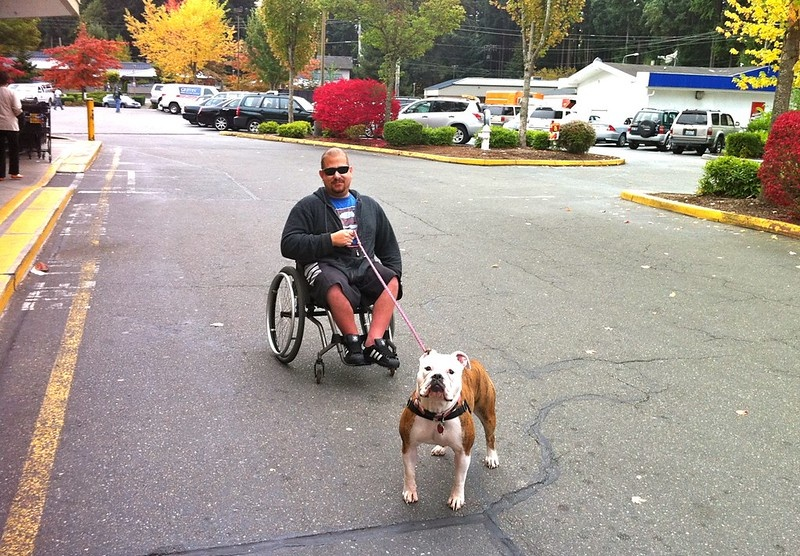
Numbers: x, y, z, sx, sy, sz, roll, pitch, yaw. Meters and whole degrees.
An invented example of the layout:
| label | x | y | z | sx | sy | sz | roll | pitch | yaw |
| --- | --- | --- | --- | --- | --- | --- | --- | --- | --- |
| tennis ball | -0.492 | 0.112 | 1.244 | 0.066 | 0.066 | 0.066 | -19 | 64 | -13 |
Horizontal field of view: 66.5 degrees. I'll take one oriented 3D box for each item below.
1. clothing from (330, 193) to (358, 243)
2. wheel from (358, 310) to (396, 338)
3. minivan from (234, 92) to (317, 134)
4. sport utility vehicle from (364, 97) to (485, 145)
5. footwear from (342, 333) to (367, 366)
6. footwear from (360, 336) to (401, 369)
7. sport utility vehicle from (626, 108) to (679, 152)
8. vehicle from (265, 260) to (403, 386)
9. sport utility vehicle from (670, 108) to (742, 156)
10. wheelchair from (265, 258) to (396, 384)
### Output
| label | x | y | z | sx | sy | sz | roll | pitch | yaw |
| --- | --- | --- | --- | --- | --- | --- | --- | --- | --- |
| clothing | -0.481 | -0.547 | 5.613 | 0.290 | 0.403 | 0.161 | -11 | -8 | -24 |
| wheel | -0.207 | 0.433 | 5.682 | 0.230 | 0.361 | 0.321 | 2 | -11 | 1 |
| minivan | -6.506 | -8.756 | 32.251 | 4.196 | 1.742 | 2.044 | -2 | 13 | -3 |
| sport utility vehicle | 1.613 | -7.328 | 27.760 | 4.391 | 1.890 | 2.131 | 6 | 12 | 13 |
| footwear | -0.395 | 0.612 | 5.194 | 0.129 | 0.128 | 0.300 | 0 | 22 | -8 |
| footwear | -0.142 | 0.682 | 5.268 | 0.254 | 0.353 | 0.311 | 18 | 23 | 40 |
| sport utility vehicle | 13.743 | -8.170 | 32.814 | 1.688 | 1.516 | 2.908 | 7 | 17 | 37 |
| vehicle | -0.852 | 0.391 | 5.799 | 1.034 | 1.497 | 1.136 | -1 | 6 | -28 |
| sport utility vehicle | 15.261 | -7.455 | 30.526 | 2.234 | 1.724 | 3.850 | 10 | 19 | 42 |
| wheelchair | -0.768 | 0.338 | 5.840 | 1.022 | 1.479 | 1.134 | -1 | 5 | -28 |
